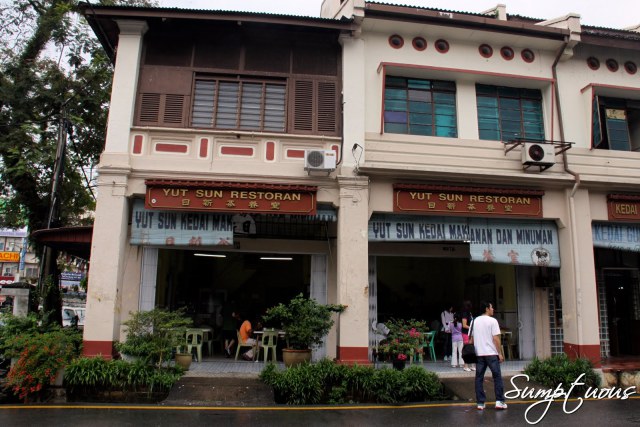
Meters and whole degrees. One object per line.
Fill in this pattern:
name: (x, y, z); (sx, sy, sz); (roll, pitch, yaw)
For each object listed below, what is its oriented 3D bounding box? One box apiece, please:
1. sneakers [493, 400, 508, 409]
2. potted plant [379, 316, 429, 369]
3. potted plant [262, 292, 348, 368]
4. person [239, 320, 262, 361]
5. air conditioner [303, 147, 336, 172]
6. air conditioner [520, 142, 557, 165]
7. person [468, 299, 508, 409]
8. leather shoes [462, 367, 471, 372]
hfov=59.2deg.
sneakers: (4.776, 4.977, 14.754); (0.319, 0.259, 0.247); (1, 5, 2)
potted plant: (2.540, 4.100, 17.503); (1.297, 1.778, 1.989); (2, 5, 12)
potted plant: (-0.395, 3.216, 17.104); (2.555, 2.156, 2.063); (-4, -6, 38)
person: (-2.369, 4.340, 19.289); (0.833, 1.337, 0.933); (20, -27, -31)
air conditioner: (0.027, -1.651, 17.148); (1.033, 0.672, 0.604); (1, -13, -6)
air conditioner: (6.961, -1.932, 17.956); (0.740, 0.454, 0.229); (3, -16, -9)
person: (4.468, 3.804, 14.922); (1.001, 2.824, 0.957); (2, 5, 15)
leather shoes: (4.667, 4.914, 17.785); (0.097, 0.100, 0.258); (1, -2, -5)
